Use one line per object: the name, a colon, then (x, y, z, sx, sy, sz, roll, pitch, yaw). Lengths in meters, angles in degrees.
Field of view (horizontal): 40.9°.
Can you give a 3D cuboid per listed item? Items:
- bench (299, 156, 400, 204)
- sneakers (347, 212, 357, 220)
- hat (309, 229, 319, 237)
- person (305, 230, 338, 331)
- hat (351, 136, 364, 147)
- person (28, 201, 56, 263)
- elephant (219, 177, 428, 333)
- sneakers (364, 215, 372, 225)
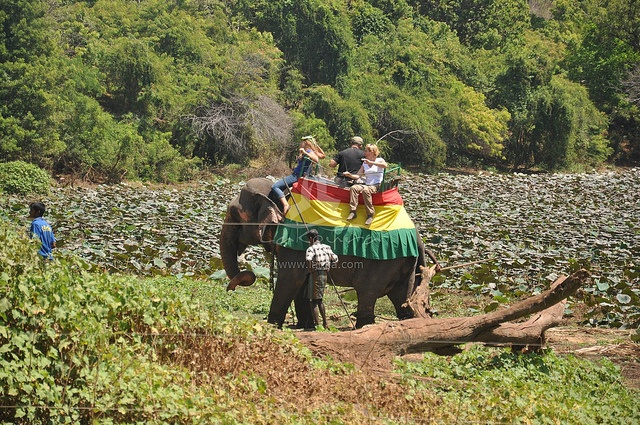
bench: (0.775, -0.702, 25.353, 3.188, 0.879, 0.575, 4, 4, -4)
sneakers: (0.942, 0.121, 25.117, 0.281, 0.251, 0.084, 4, 3, -5)
hat: (-0.202, 0.582, 24.745, 0.196, 0.117, 0.205, -5, 11, -30)
person: (-0.030, 1.930, 24.836, 0.899, 2.834, 0.526, 4, 4, -8)
hat: (1.141, -2.116, 25.707, 0.294, 0.363, 0.378, 4, 17, -1)
person: (-7.880, 0.510, 24.327, 0.663, 1.533, 1.039, 2, 4, -28)
elephant: (0.019, 1.218, 26.126, 6.559, 4.959, 2.885, 3, 12, 8)
sneakers: (1.432, 0.248, 25.124, 0.137, 0.290, 0.117, 19, -3, 7)
